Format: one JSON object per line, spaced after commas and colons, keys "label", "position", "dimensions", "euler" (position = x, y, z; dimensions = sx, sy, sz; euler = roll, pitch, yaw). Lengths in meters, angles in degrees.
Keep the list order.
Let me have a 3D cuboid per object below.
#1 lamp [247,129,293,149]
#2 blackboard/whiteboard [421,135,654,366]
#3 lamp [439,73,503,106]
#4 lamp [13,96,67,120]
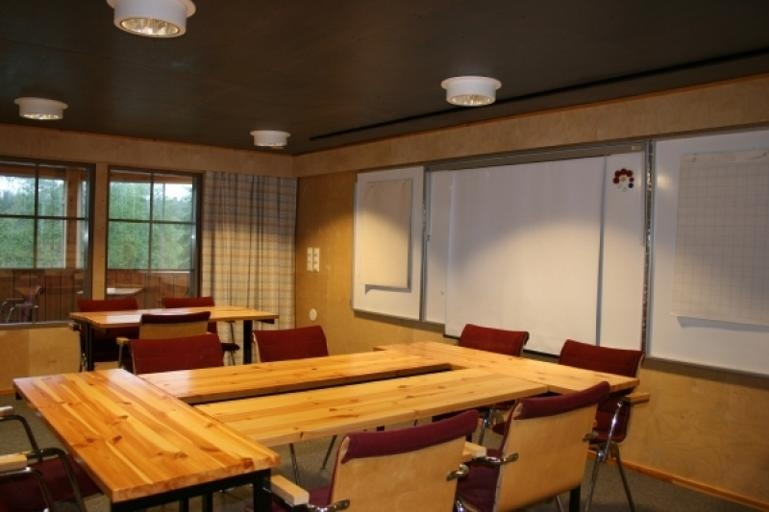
{"label": "lamp", "position": [-1.268, -1.286, 6.214], "dimensions": [0.428, 0.171, 0.348], "euler": [0, 1, -15]}
{"label": "blackboard/whiteboard", "position": [1.404, -0.050, 4.938], "dimensions": [0.079, 1.596, 2.168], "euler": [3, -1, -43]}
{"label": "lamp", "position": [0.679, -1.269, 4.392], "dimensions": [0.472, 0.191, 0.284], "euler": [0, 1, 7]}
{"label": "lamp", "position": [-3.164, -1.342, 5.177], "dimensions": [0.423, 0.154, 0.272], "euler": [0, 1, -32]}
